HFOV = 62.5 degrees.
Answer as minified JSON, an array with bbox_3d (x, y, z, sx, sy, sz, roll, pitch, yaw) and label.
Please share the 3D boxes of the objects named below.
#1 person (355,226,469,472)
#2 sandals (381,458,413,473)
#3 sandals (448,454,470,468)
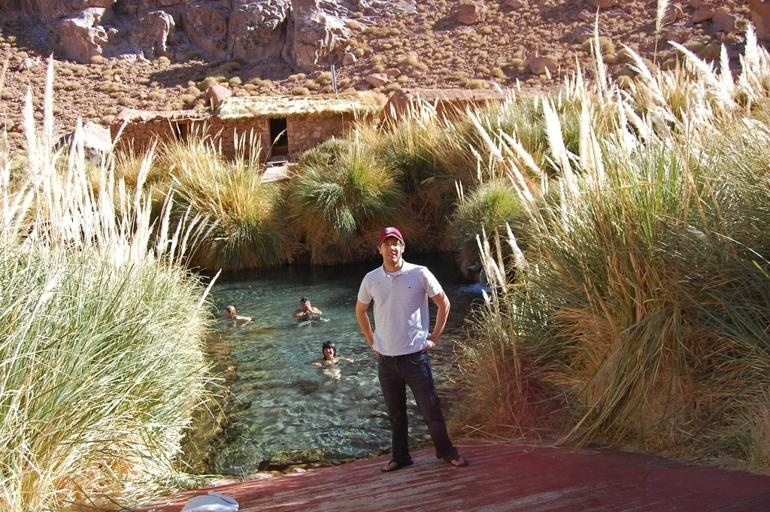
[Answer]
[{"bbox_3d":[0.161,0.645,4.519,0.681,1.699,0.655,-3,4,-5],"label":"person"},{"bbox_3d":[0.074,1.463,4.451,0.171,0.046,0.089,-1,7,-19],"label":"sandals"},{"bbox_3d":[0.498,1.396,4.310,0.066,0.050,0.125,1,-7,-32],"label":"sandals"}]
